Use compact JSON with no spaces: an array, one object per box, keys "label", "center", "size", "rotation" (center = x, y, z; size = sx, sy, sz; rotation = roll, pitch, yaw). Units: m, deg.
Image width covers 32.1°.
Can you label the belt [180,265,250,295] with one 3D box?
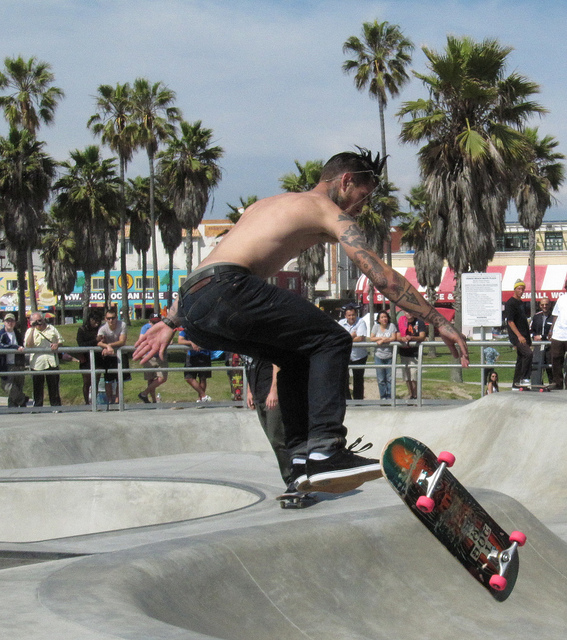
[{"label":"belt","center":[-0.335,-0.187,4.617],"size":[0.357,0.133,0.109],"rotation":[0,2,31]}]

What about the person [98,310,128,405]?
[{"label":"person","center":[-1.984,0.452,11.410],"size":[0.330,1.123,1.587],"rotation":[-1,1,-10]}]

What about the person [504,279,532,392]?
[{"label":"person","center":[2.954,0.216,12.371],"size":[0.309,1.385,0.793],"rotation":[0,1,14]}]

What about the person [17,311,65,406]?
[{"label":"person","center":[-2.834,0.474,11.511],"size":[0.517,1.129,1.467],"rotation":[-1,1,-14]}]

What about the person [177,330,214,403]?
[{"label":"person","center":[-1.080,0.443,12.348],"size":[0.406,1.305,0.382],"rotation":[-2,3,-5]}]

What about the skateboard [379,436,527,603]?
[{"label":"skateboard","center":[0.762,0.873,4.338],"size":[0.141,1.029,0.392],"rotation":[-29,15,51]}]

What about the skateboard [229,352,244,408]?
[{"label":"skateboard","center":[-0.565,0.727,11.735],"size":[0.210,0.733,0.172],"rotation":[0,12,-3]}]
